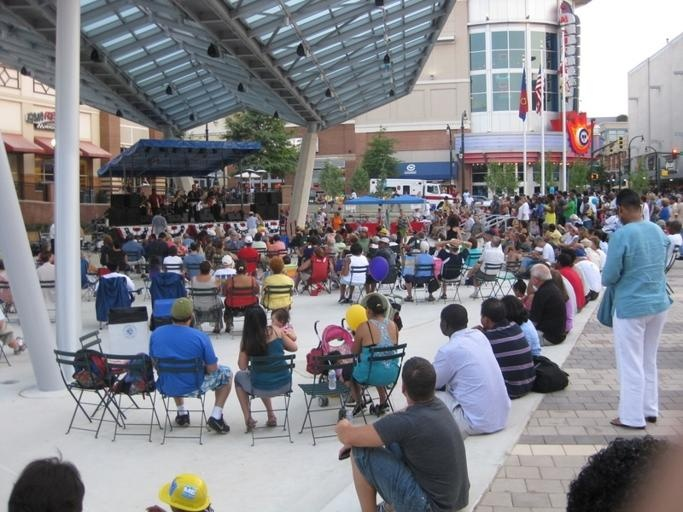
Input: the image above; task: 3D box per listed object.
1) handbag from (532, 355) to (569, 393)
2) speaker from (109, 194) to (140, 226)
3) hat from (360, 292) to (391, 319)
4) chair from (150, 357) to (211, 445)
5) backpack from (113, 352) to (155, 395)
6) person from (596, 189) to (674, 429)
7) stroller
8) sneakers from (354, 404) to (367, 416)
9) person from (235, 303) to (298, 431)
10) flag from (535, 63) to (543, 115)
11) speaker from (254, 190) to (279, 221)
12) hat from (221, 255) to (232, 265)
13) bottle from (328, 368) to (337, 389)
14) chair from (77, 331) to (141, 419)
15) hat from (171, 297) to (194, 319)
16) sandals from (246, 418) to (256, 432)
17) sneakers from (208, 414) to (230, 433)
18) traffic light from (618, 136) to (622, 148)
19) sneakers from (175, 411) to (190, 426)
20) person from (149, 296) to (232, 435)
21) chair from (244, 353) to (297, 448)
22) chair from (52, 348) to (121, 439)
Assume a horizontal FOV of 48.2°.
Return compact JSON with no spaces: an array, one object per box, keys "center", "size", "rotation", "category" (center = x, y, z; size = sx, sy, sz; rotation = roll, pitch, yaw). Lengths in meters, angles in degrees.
[{"center":[2.722,1.556,9.939],"size":[0.431,0.431,0.368],"rotation":[0,5,15],"category":"handbag"},{"center":[-7.922,-2.007,27.977],"size":[1.107,0.871,1.653],"rotation":[-1,-40,-18],"category":"speaker"},{"center":[0.511,0.632,9.956],"size":[0.329,0.418,0.161],"rotation":[3,35,7],"category":"hat"},{"center":[-2.041,1.906,9.705],"size":[0.526,0.737,0.929],"rotation":[4,11,-22],"category":"chair"},{"center":[-2.640,1.524,9.742],"size":[0.458,0.506,0.680],"rotation":[-16,-16,30],"category":"backpack"},{"center":[3.370,0.591,8.764],"size":[0.735,2.712,0.909],"rotation":[1,2,39],"category":"person"},{"center":[-0.059,1.358,10.068],"size":[0.780,1.189,1.317],"rotation":[-1,9,-11],"category":"stroller"},{"center":[0.221,2.021,9.983],"size":[0.083,0.123,0.270],"rotation":[1,8,4],"category":"sneakers"},{"center":[-0.969,1.412,9.611],"size":[0.765,1.601,0.668],"rotation":[-2,4,-7],"category":"person"},{"center":[9.289,-7.772,35.891],"size":[0.353,2.107,3.044],"rotation":[0,5,15],"category":"flag"},{"center":[-3.282,-2.155,32.947],"size":[0.406,1.281,1.268],"rotation":[7,10,44],"category":"speaker"},{"center":[-2.550,0.106,16.516],"size":[0.216,0.199,0.374],"rotation":[6,-5,-1],"category":"hat"},{"center":[-0.121,1.574,9.737],"size":[0.112,0.224,0.315],"rotation":[-2,4,-1],"category":"bottle"},{"center":[-3.037,1.549,9.756],"size":[0.786,1.050,0.773],"rotation":[-9,27,-28],"category":"chair"},{"center":[-1.979,0.666,9.455],"size":[0.227,0.263,0.221],"rotation":[-2,4,-6],"category":"hat"},{"center":[-1.152,2.154,9.683],"size":[0.098,0.179,0.166],"rotation":[1,-8,-2],"category":"sandals"},{"center":[-1.532,2.124,9.582],"size":[0.336,0.165,0.129],"rotation":[33,-10,-30],"category":"sneakers"},{"center":[18.947,-7.795,51.907],"size":[0.216,0.693,1.560],"rotation":[1,5,27],"category":"traffic light"},{"center":[-2.039,2.094,9.766],"size":[0.174,0.192,0.131],"rotation":[-3,5,-7],"category":"sneakers"},{"center":[-1.982,1.438,9.915],"size":[1.081,2.002,1.162],"rotation":[-8,16,-34],"category":"person"},{"center":[-0.915,1.775,9.707],"size":[0.613,1.140,0.787],"rotation":[0,0,-4],"category":"chair"},{"center":[-3.255,1.763,9.854],"size":[0.572,1.133,0.759],"rotation":[-1,2,14],"category":"chair"}]
